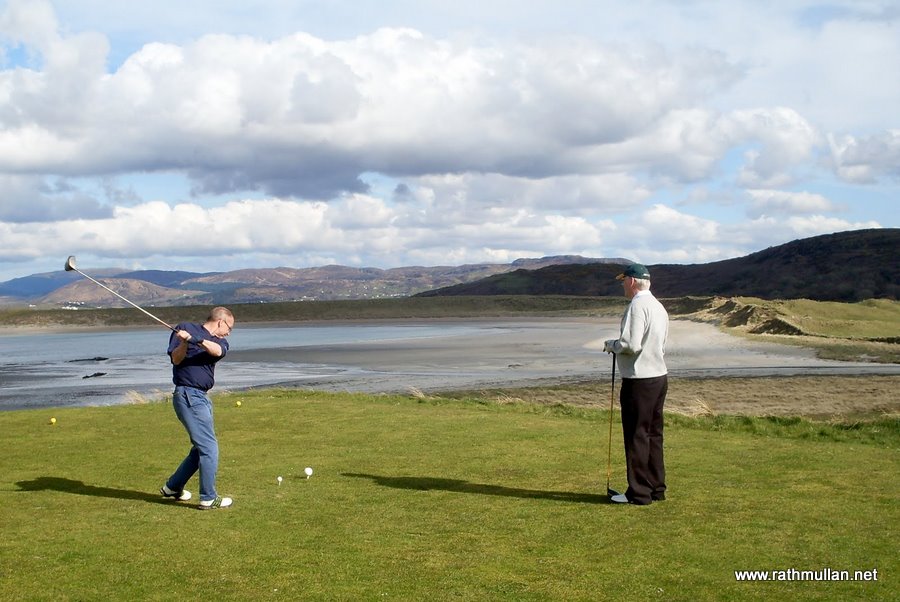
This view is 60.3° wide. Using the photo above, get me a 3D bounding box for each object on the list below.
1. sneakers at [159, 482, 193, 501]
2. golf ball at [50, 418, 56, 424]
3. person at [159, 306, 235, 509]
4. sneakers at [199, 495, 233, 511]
[{"bbox_3d":[-4.406,3.068,12.470,0.509,0.191,0.232,1,9,-13],"label":"sneakers"},{"bbox_3d":[-8.838,2.660,17.207,0.128,0.055,0.115,7,-2,-19],"label":"golf ball"},{"bbox_3d":[-4.029,1.639,12.420,1.228,3.201,1.467,-4,13,-16],"label":"person"},{"bbox_3d":[-3.660,3.164,12.116,0.498,0.177,0.196,-1,1,-17],"label":"sneakers"}]
